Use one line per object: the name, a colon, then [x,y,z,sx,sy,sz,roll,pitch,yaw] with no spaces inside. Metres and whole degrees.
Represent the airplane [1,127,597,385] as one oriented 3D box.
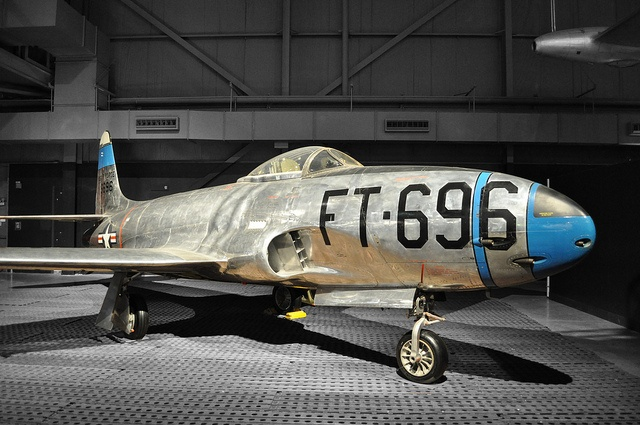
airplane: [0.358,0.407,8.690,7.035,2.004,6.473,0,0,30]
